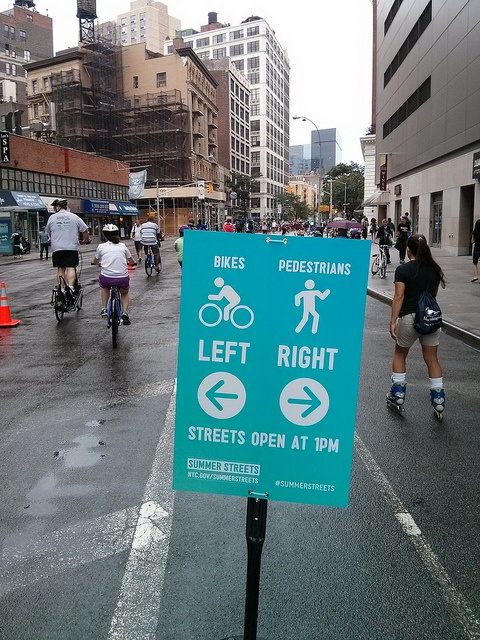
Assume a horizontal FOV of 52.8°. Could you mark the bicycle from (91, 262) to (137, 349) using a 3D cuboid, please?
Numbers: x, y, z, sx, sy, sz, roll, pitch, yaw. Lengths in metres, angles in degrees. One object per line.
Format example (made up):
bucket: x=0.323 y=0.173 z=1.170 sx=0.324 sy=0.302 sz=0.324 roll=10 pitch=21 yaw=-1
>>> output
bicycle: x=-2.242 y=-0.161 z=8.790 sx=0.574 sy=1.070 sz=1.520 roll=0 pitch=11 yaw=-5

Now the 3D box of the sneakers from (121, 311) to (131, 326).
sneakers: x=-2.123 y=-0.009 z=8.718 sx=0.119 sy=0.172 sz=0.339 roll=-1 pitch=-17 yaw=3

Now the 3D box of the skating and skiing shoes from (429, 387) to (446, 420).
skating and skiing shoes: x=2.141 y=0.872 z=5.095 sx=0.127 sy=0.306 sz=0.287 roll=1 pitch=4 yaw=24

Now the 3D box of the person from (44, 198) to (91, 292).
person: x=-3.915 y=-1.595 z=10.545 sx=0.844 sy=2.192 sz=1.447 roll=-1 pitch=4 yaw=-25

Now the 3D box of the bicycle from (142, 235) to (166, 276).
bicycle: x=-3.999 y=-2.524 z=21.124 sx=0.772 sy=1.385 sz=1.888 roll=0 pitch=6 yaw=0

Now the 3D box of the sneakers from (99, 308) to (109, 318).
sneakers: x=-2.740 y=-0.130 z=9.386 sx=0.158 sy=0.270 sz=0.522 roll=-1 pitch=2 yaw=-14
